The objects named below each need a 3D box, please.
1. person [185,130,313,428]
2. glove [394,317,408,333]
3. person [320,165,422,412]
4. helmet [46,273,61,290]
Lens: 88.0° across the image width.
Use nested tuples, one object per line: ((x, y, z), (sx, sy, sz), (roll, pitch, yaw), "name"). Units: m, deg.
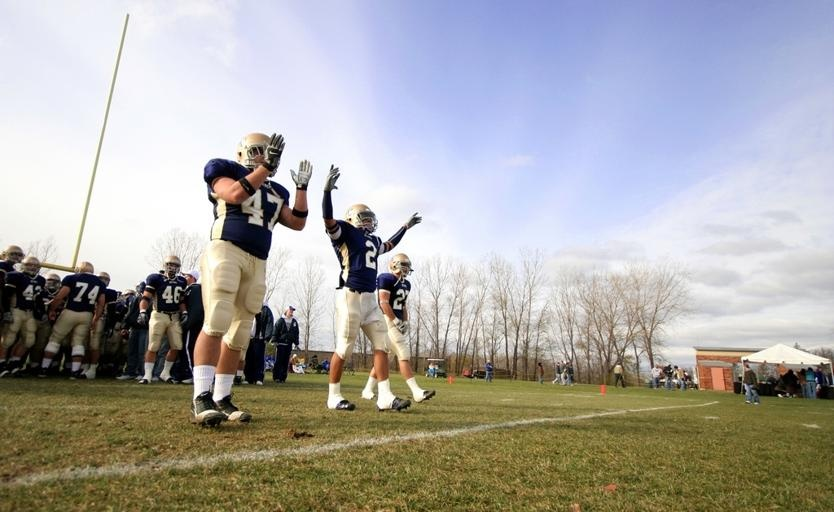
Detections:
((-1.974, 0.156, 5.063), (1.180, 3.389, 1.277), (1, -18, 1), "person")
((-0.399, 1.261, 8.000), (0.316, 0.137, 0.264), (33, 13, 34), "glove")
((-1.020, 0.699, 6.792), (1.612, 3.250, 0.865), (15, -22, -38), "person")
((-8.687, 0.585, 10.280), (0.286, 0.348, 0.408), (15, -22, -38), "helmet")
